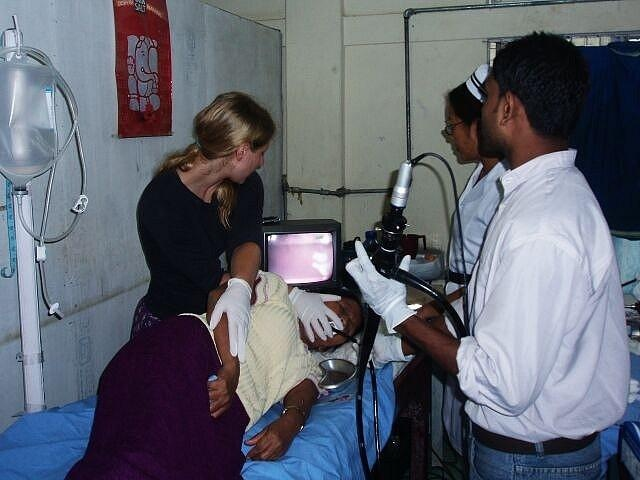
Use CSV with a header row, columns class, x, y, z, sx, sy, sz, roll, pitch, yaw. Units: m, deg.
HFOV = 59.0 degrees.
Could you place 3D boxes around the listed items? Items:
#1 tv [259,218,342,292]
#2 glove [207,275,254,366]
class,x,y,z,sx,sy,sz,roll,pitch,yaw
tv,-0.113,0.063,3.155,0.490,0.503,0.312,-1,2,-3
glove,-0.322,0.245,2.083,0.163,0.285,0.070,38,28,11
